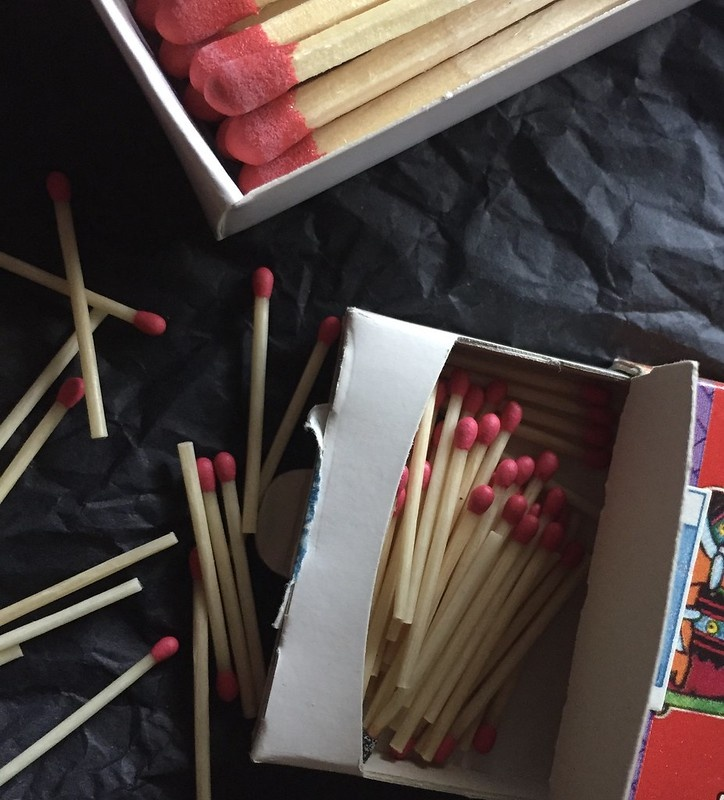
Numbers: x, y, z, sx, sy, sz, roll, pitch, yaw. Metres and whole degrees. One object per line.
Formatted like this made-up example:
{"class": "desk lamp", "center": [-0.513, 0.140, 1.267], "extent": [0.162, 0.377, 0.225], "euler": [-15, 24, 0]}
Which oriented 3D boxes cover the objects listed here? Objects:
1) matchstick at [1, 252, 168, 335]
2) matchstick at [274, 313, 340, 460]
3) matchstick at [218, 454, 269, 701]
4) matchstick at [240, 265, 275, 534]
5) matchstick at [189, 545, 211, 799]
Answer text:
{"class": "matchstick", "center": [-0.367, -0.138, 1.145], "extent": [0.199, 0.025, 0.026], "euler": [26, 42, -6]}
{"class": "matchstick", "center": [-0.071, -0.012, 1.126], "extent": [0.032, 0.033, 0.206], "euler": [33, 99, 40]}
{"class": "matchstick", "center": [-0.153, 0.237, 1.146], "extent": [0.033, 0.036, 0.324], "euler": [-8, 95, 47]}
{"class": "matchstick", "center": [-0.124, 0.002, 1.149], "extent": [0.044, 0.042, 0.333], "euler": [2, 90, 8]}
{"class": "matchstick", "center": [-0.197, 0.348, 1.130], "extent": [0.026, 0.024, 0.309], "euler": [-2, 90, 20]}
